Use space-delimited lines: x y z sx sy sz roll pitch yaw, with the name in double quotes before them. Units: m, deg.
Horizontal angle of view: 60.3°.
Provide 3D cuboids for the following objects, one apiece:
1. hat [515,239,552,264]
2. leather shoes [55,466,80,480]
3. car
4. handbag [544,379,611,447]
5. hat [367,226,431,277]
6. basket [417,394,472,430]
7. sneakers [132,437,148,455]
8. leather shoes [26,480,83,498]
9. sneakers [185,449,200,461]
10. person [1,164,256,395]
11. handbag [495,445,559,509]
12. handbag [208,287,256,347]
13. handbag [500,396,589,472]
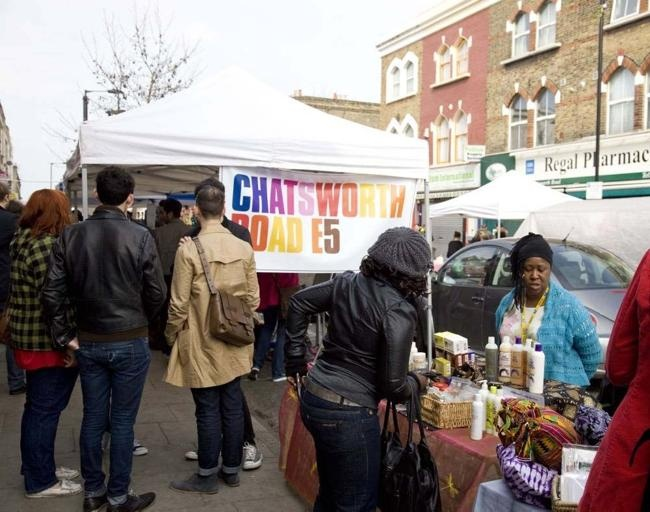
"hat" 1.495 -0.039 3.982 0.172 0.207 0.194 4 0 -1
"leather shoes" -2.054 1.714 4.429 0.193 0.086 0.081 4 4 -14
"car" 2.681 0.564 7.240 1.365 1.346 2.740 3 11 -23
"handbag" 1.386 0.879 2.990 0.300 0.091 0.270 30 31 -29
"hat" 0.406 -0.015 2.880 0.258 0.277 0.124 15 -30 -9
"basket" 0.738 0.945 3.332 0.174 0.109 0.262 1 -6 -11
"sneakers" -1.655 1.673 4.988 0.126 0.165 0.380 5 -11 -27
"leather shoes" -2.027 1.708 4.139 0.335 0.136 0.135 -2 4 -23
"sneakers" -1.163 1.732 4.884 0.086 0.100 0.219 8 1 -18
"person" -1.693 0.201 3.902 1.069 1.676 0.497 3 2 10
"handbag" 0.977 1.052 2.681 0.258 0.208 0.159 4 3 27
"handbag" -0.684 0.463 4.133 0.156 0.354 0.397 -21 -29 25
"handbag" 1.120 0.893 2.876 0.486 0.222 0.411 12 11 -20
